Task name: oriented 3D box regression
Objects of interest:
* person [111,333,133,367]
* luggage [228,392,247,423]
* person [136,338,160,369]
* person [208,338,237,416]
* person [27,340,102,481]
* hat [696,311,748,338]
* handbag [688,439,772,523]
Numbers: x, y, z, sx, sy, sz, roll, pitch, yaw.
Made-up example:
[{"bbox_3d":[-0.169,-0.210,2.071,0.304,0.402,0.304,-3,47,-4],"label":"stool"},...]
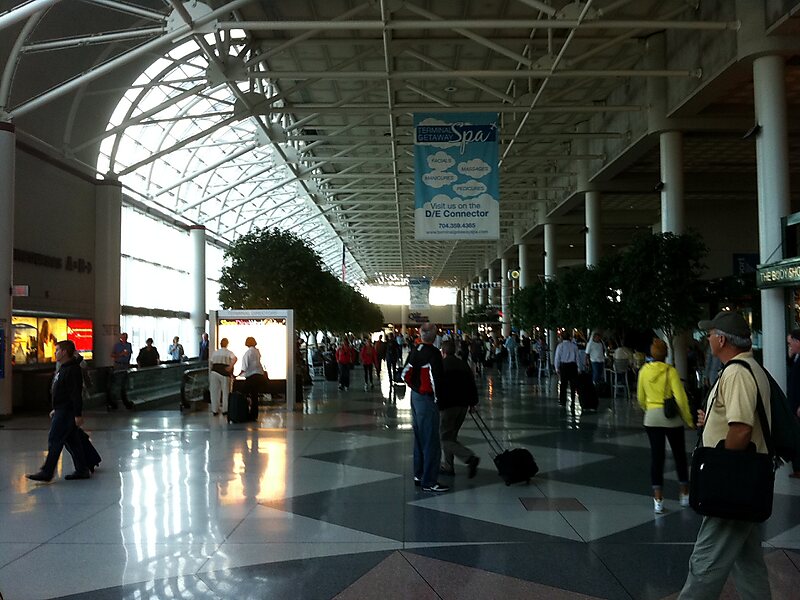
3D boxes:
[{"bbox_3d":[-8.864,1.610,21.162,0.538,1.126,2.337,1,-6,-24],"label":"person"},{"bbox_3d":[-3.950,2.626,16.198,0.470,0.718,0.362,0,-6,-10],"label":"luggage"},{"bbox_3d":[-8.728,1.825,22.971,0.524,0.951,0.824,0,-6,-11],"label":"person"},{"bbox_3d":[-4.650,2.011,17.270,0.613,1.994,1.015,3,-7,-35],"label":"person"},{"bbox_3d":[-5.034,1.657,10.126,0.923,2.103,1.038,2,-6,-25],"label":"person"},{"bbox_3d":[2.555,0.198,5.306,0.299,0.169,0.215,9,2,38],"label":"hat"},{"bbox_3d":[2.441,1.335,4.913,0.598,0.553,0.325,5,-17,17],"label":"handbag"}]
